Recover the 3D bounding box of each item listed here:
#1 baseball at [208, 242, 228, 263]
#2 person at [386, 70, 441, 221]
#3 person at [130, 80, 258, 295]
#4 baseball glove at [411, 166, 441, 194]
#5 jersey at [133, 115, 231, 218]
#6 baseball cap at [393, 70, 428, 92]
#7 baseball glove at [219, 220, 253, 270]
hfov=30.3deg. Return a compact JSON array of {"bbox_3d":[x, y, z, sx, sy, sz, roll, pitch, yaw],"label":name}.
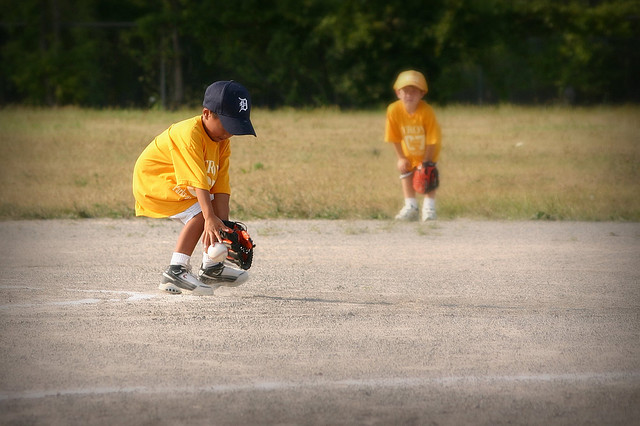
[{"bbox_3d":[-0.939,0.373,10.962,0.190,0.162,0.164,12,39,9],"label":"baseball"},{"bbox_3d":[1.048,-0.750,13.288,0.616,1.678,0.465,1,7,5],"label":"person"},{"bbox_3d":[-1.162,-0.217,10.930,1.085,1.981,0.526,0,7,-7],"label":"person"},{"bbox_3d":[1.168,-0.439,13.354,0.379,0.419,0.483,2,-7,4],"label":"baseball glove"},{"bbox_3d":[-1.277,-0.421,10.924,0.883,0.961,0.487,0,7,-7],"label":"jersey"},{"bbox_3d":[1.015,-1.477,13.208,0.364,0.216,0.347,0,8,-3],"label":"baseball cap"},{"bbox_3d":[-0.804,0.316,10.997,0.155,0.422,0.310,-30,25,35],"label":"baseball glove"}]
